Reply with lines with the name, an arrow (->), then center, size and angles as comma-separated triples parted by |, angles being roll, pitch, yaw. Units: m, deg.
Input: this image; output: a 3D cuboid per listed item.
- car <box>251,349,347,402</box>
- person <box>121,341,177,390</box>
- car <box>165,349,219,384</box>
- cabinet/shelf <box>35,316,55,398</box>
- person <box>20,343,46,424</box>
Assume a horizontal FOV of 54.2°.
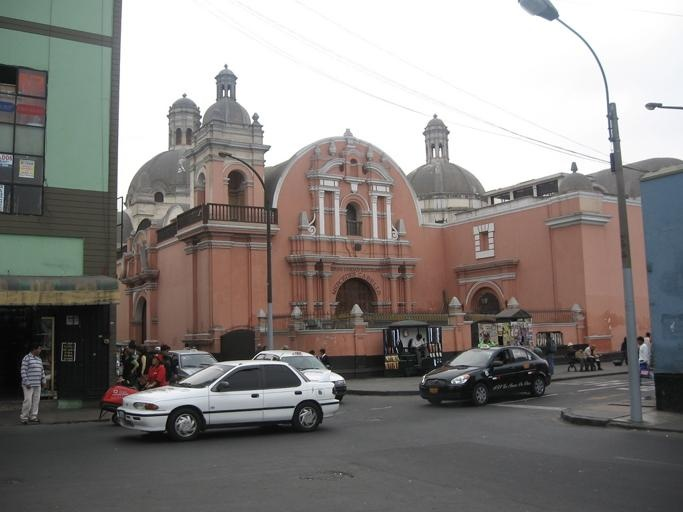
car -> -1.462, 4.092, 22.963 | 1.545, 1.419, 3.356 | 5, -10, -35
person -> -5.631, 3.240, 19.160 | 1.763, 1.273, 1.083 | -5, -16, 14
car -> -5.097, 3.660, 22.803 | 1.162, 1.084, 2.026 | 4, -16, -34
cabinet/shelf -> -9.901, 3.425, 22.663 | 0.567, 2.616, 0.750 | 0, 3, 0
person -> -8.825, 3.594, 19.015 | 0.630, 2.261, 0.834 | 0, 0, -26
